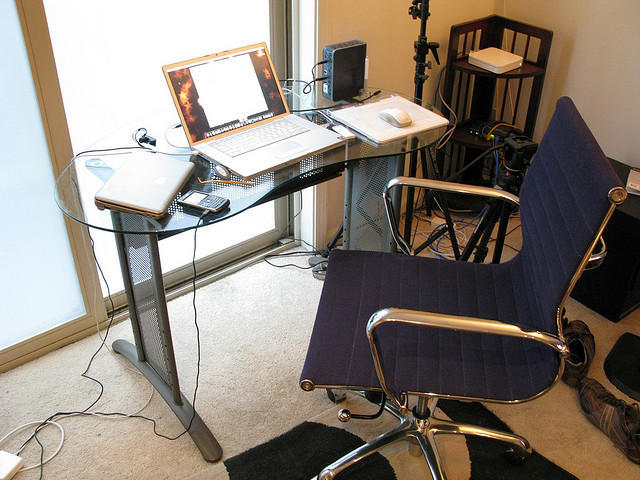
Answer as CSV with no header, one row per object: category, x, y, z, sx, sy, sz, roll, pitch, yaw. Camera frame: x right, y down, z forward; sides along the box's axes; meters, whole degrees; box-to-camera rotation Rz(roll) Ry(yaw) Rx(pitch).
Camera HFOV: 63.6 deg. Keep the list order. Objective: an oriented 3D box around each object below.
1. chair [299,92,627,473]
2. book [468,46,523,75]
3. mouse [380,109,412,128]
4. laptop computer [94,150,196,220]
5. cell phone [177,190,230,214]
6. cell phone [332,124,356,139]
chair,0.538,0.190,1.955,0.885,1.364,0.959,5,42,6
book,0.955,-0.975,2.821,0.207,0.068,0.227,-23,38,-27
mouse,0.317,-0.496,2.081,0.062,0.038,0.113,-26,42,-28
laptop computer,-0.592,-0.194,1.781,0.245,0.100,0.298,5,34,13
cell phone,-0.393,-0.110,1.738,0.132,0.018,0.078,18,42,11
cell phone,0.097,-0.427,2.057,0.069,0.013,0.126,-14,49,-32
